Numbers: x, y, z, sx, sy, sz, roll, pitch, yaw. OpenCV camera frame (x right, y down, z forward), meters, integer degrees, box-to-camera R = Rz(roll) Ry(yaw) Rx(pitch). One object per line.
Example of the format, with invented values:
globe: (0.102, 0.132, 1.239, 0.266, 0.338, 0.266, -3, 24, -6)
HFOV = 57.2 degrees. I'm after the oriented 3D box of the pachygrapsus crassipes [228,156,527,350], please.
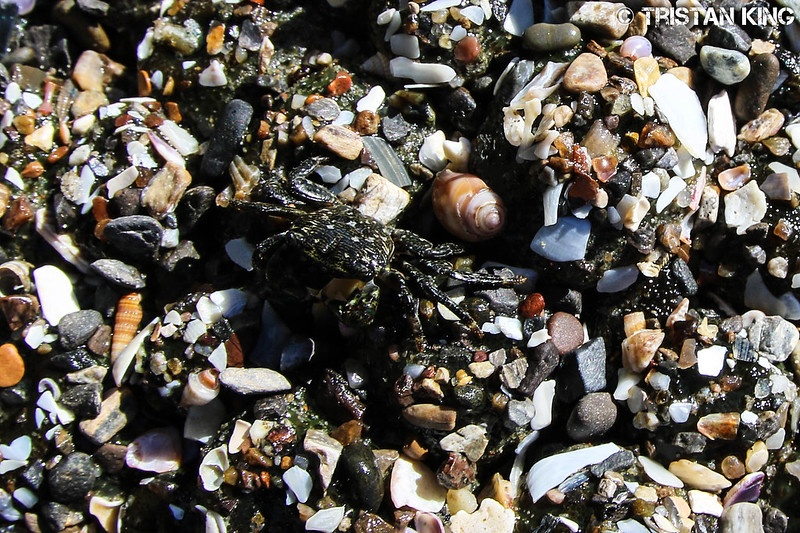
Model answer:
pachygrapsus crassipes: (-0.230, -0.086, 3.752, 1.080, 0.665, 1.163, 0, 79, 7)
